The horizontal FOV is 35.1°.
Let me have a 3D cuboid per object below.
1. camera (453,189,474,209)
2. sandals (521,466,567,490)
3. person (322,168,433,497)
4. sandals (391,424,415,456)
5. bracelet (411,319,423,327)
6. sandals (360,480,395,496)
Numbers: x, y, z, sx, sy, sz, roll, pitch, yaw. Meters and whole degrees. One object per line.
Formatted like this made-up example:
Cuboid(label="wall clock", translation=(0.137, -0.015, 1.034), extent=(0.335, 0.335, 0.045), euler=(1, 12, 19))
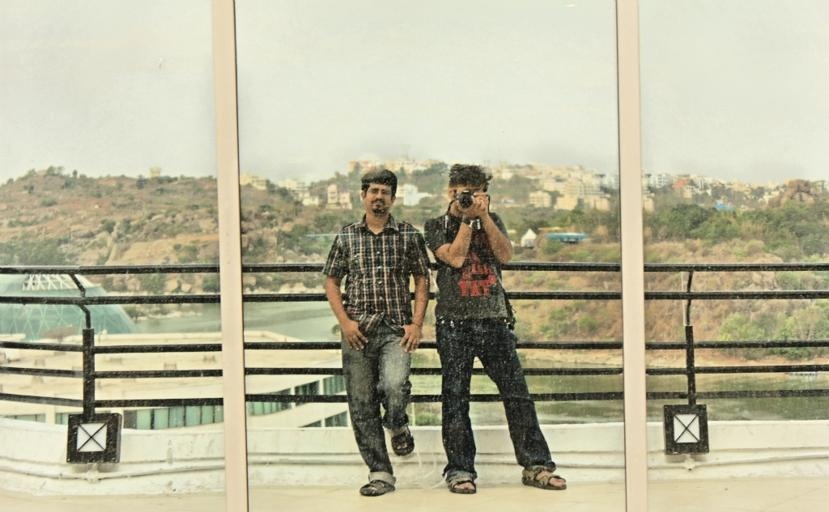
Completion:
Cuboid(label="camera", translation=(0.318, -0.366, 8.257), extent=(0.094, 0.119, 0.037), euler=(-3, 0, 11))
Cuboid(label="sandals", translation=(0.815, 1.392, 8.227), extent=(0.248, 0.086, 0.136), euler=(0, 1, 9))
Cuboid(label="person", translation=(-0.230, 0.471, 8.205), extent=(0.625, 2.043, 0.172), euler=(-1, -7, -6))
Cuboid(label="sandals", translation=(-0.076, 1.164, 8.190), extent=(0.151, 0.134, 0.182), euler=(-1, -4, -9))
Cuboid(label="bracelet", translation=(0.022, 0.423, 8.247), extent=(0.045, 0.035, 0.048), euler=(-1, -3, -29))
Cuboid(label="sandals", translation=(-0.234, 1.436, 8.153), extent=(0.175, 0.071, 0.099), euler=(2, -5, -4))
